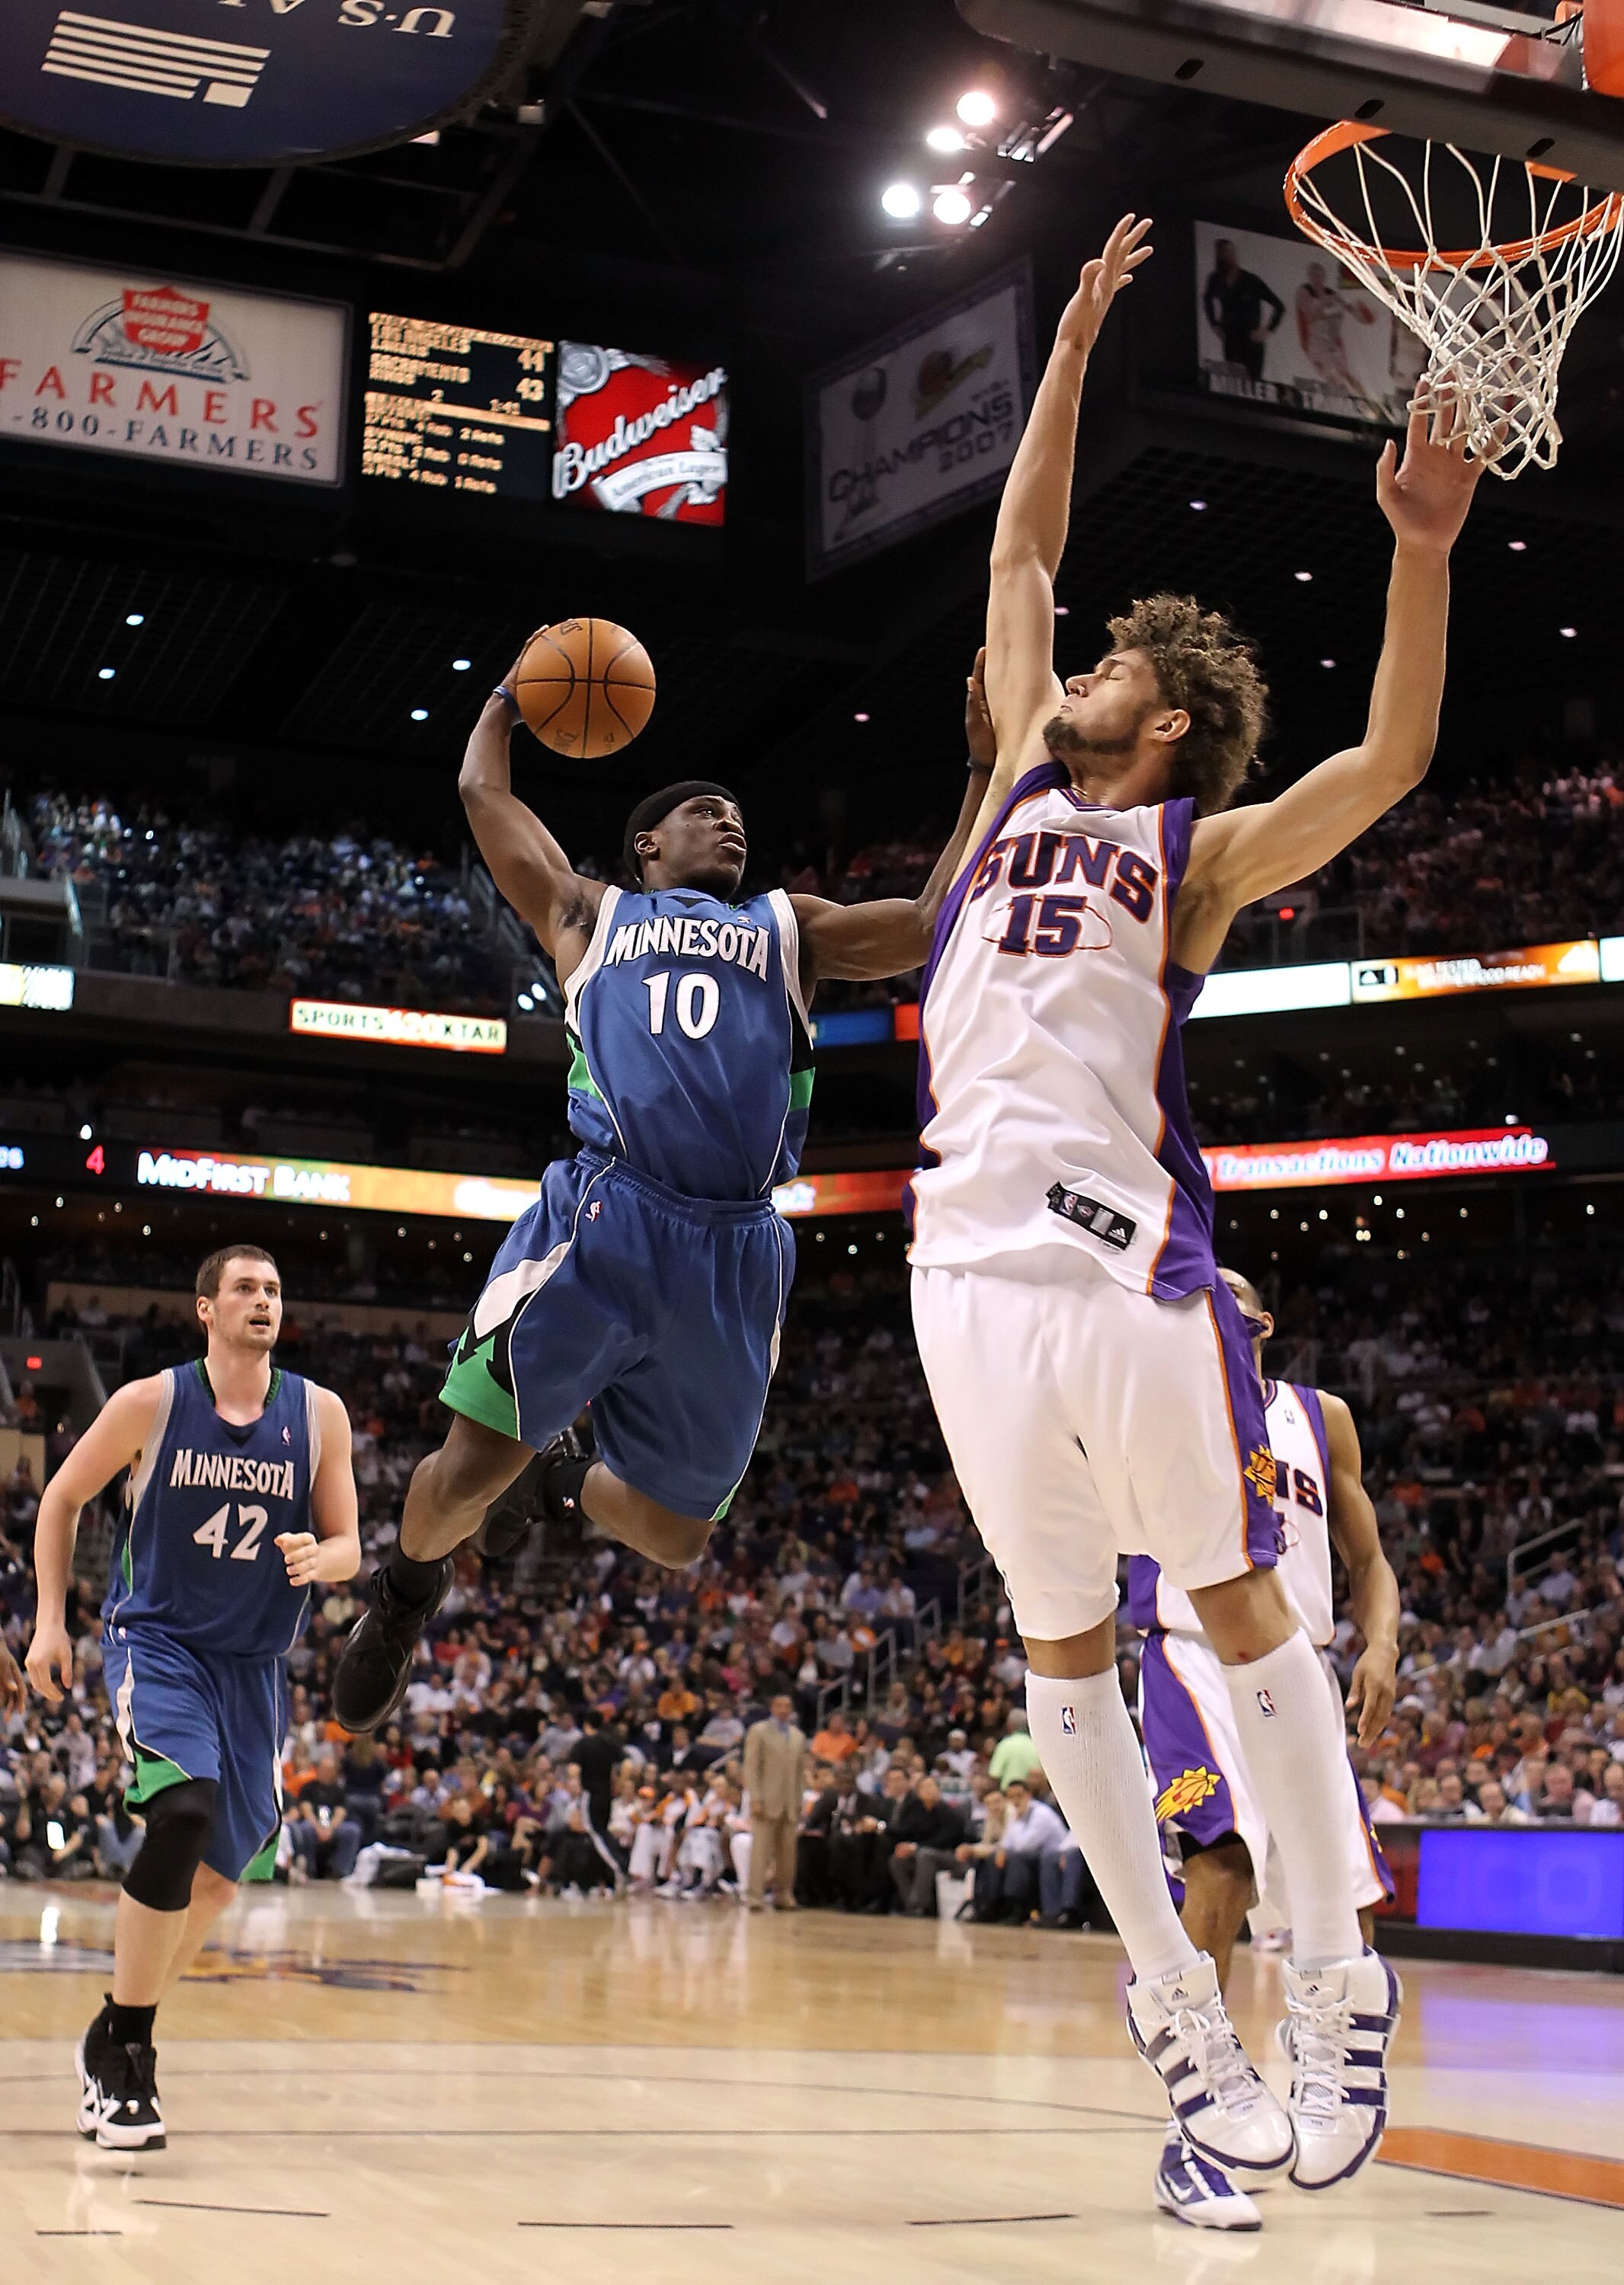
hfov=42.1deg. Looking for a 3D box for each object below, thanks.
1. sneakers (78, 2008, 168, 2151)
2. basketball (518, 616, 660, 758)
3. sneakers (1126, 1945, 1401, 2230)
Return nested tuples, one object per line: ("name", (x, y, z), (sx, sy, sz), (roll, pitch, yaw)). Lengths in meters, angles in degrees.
("sneakers", (-1.008, 1.370, 3.077), (0.103, 0.121, 0.282), (2, -9, -17))
("basketball", (-0.412, -0.879, 4.244), (0.311, 0.282, 0.295), (2, -16, -2))
("sneakers", (0.543, 1.092, 2.514), (0.165, 0.185, 0.477), (-11, -3, 5))
